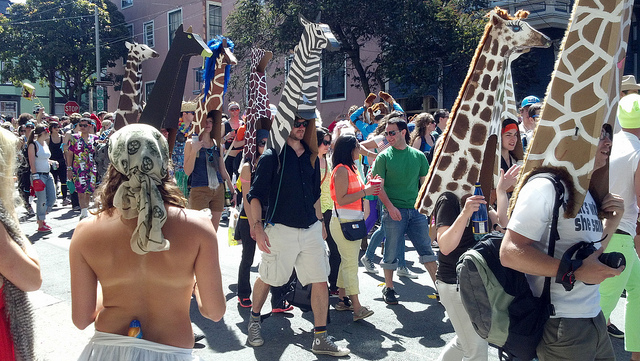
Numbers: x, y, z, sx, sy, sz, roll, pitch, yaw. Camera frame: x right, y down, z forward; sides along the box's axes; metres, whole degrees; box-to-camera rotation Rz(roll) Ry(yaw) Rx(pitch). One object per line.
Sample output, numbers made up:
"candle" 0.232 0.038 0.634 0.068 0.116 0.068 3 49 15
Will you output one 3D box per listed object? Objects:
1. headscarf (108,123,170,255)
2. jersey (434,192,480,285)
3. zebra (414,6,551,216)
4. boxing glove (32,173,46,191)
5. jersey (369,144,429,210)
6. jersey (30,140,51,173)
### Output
"headscarf" -1.541 0.008 4.522 0.380 1.308 0.431 1 0 -11
"jersey" 1.442 0.647 5.699 0.369 1.054 0.352 1 0 6
"zebra" 1.718 -0.750 5.730 1.269 2.173 0.491 -8 16 -31
"boxing glove" -6.065 0.015 11.417 0.350 0.371 0.111 -3 -8 -8
"jersey" 1.180 -0.034 7.850 1.102 1.082 0.496 0 -4 -13
"jersey" -6.371 -0.613 12.121 0.343 0.648 0.451 -2 4 36
